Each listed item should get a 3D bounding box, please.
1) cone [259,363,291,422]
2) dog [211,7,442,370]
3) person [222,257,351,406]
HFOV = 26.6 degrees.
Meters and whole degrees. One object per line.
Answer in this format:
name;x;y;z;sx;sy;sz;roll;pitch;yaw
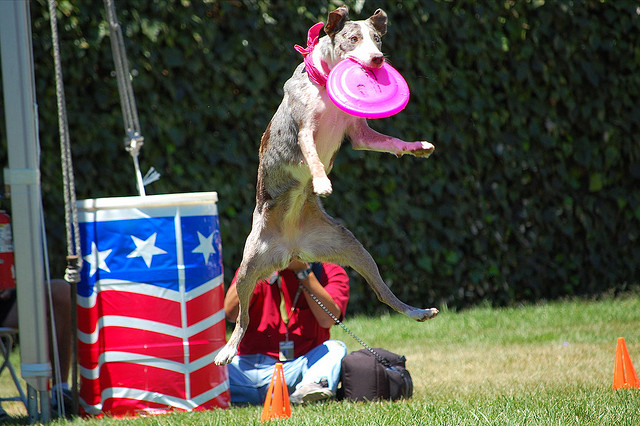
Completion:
cone;-0.415;1.715;12.762;0.379;0.610;0.396;4;-5;-45
dog;0.073;-0.300;12.675;1.334;3.746;1.854;0;0;-15
person;-0.301;1.179;13.343;1.169;1.500;0.863;-2;-12;5
